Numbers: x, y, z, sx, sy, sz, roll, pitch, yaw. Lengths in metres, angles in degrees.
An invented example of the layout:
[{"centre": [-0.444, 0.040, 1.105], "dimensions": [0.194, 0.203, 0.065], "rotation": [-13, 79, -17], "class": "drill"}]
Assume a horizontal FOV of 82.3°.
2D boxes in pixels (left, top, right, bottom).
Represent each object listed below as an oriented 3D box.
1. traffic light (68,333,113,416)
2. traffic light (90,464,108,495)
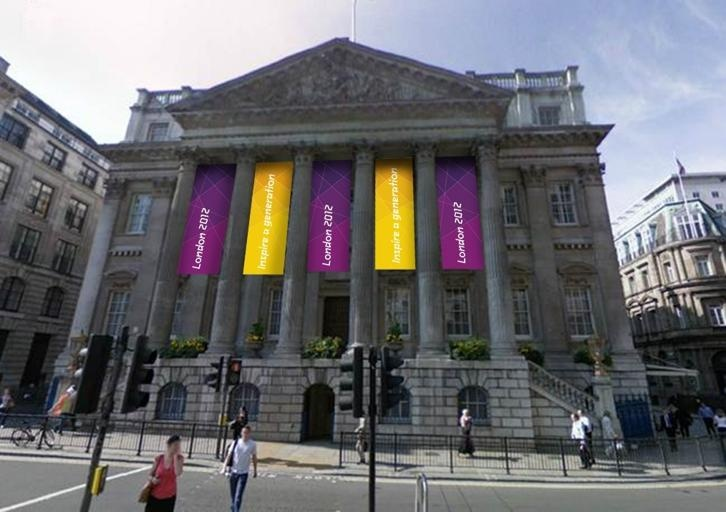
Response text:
[{"centre": [-8.454, 3.673, 12.929], "dimensions": [0.669, 2.383, 0.701], "rotation": [14, -23, -32], "class": "traffic light"}, {"centre": [-8.164, 6.918, 12.754], "dimensions": [0.328, 0.928, 1.041], "rotation": [12, -22, -28], "class": "traffic light"}]
